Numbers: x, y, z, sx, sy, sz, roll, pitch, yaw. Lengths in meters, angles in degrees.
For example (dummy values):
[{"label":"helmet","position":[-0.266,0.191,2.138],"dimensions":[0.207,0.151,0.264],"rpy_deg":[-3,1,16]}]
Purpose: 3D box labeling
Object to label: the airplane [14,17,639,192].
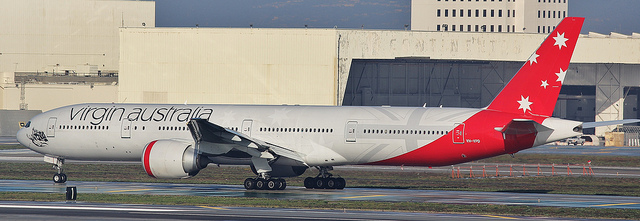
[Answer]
[{"label":"airplane","position":[-0.021,-0.609,265.939],"dimensions":[142.591,39.565,10.982],"rpy_deg":[-2,0,2]}]
